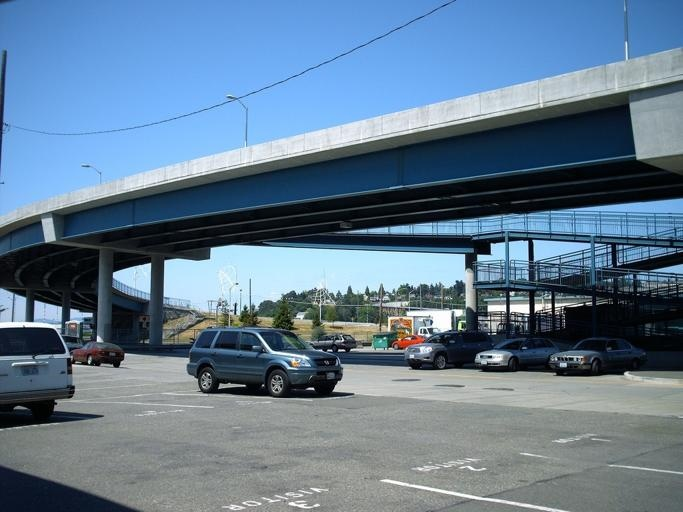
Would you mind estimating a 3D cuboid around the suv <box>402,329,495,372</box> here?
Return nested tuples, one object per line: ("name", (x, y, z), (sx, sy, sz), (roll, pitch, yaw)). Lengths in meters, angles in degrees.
("suv", (5.431, 4.719, 36.027), (4.180, 1.504, 1.885), (5, -12, -38))

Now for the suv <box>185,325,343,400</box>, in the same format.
("suv", (-2.437, 3.457, 22.613), (4.279, 1.677, 2.342), (-9, -13, 36))

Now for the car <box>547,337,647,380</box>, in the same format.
("car", (11.146, 4.358, 30.967), (4.191, 1.566, 1.369), (4, -9, -30))

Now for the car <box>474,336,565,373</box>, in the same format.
("car", (8.510, 4.746, 34.166), (4.028, 1.251, 1.779), (6, -12, -38))
